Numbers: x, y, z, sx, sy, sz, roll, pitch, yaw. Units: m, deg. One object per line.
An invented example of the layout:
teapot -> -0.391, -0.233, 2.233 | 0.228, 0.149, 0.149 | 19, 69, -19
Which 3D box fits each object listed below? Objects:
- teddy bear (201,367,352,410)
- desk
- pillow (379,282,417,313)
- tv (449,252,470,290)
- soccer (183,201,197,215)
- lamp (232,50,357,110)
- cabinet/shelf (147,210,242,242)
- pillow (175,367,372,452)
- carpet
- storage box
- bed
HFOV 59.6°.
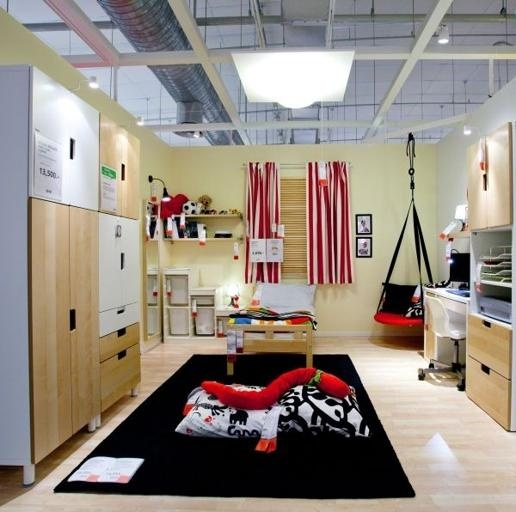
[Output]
teddy bear -> 0.174, 0.973, 3.330 | 0.745, 0.171, 0.455 | -8, -2, 24
desk -> 1.931, 0.710, 4.610 | 0.230, 0.774, 0.790 | 1, -1, 5
pillow -> 1.846, 0.555, 5.863 | 0.341, 0.402, 0.090 | 4, -24, 27
tv -> 2.173, 0.153, 4.806 | 0.095, 0.348, 0.325 | 3, -6, -5
soccer -> -0.944, -0.662, 6.129 | 0.122, 0.204, 0.179 | 0, -6, -6
lamp -> 0.267, -1.327, 3.445 | 0.863, 0.237, 0.818 | 0, 5, 2
cabinet/shelf -> -0.824, -0.410, 6.040 | 1.355, 0.394, 0.624 | -2, 6, -19
pillow -> 0.067, 1.094, 3.237 | 0.821, 0.415, 0.690 | 1, -6, 5
carpet -> 0.084, 1.289, 3.838 | 1.900, 0.037, 3.101 | 1, 3, 2
storage box -> -0.894, 0.612, 5.853 | 0.681, 0.878, 0.237 | 0, 5, -3
bed -> 0.216, 0.826, 5.370 | 0.874, 0.961, 1.733 | -2, -2, 9
